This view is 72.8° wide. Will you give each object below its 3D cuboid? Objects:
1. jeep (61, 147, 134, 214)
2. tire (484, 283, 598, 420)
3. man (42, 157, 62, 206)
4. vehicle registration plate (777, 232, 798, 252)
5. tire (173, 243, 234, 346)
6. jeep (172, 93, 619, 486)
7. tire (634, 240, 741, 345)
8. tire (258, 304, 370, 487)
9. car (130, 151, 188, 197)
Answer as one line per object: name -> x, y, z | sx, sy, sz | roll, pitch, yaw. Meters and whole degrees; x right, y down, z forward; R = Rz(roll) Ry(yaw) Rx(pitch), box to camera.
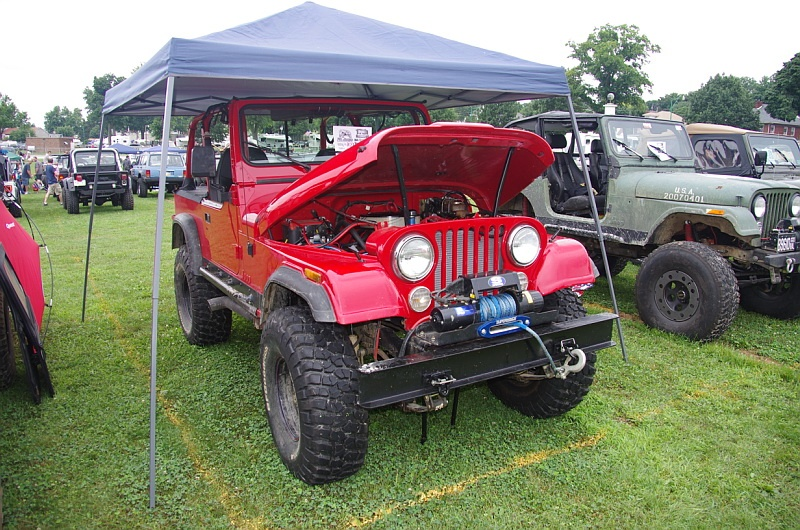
jeep -> -8.955, -2.494, 16.011 | 1.722, 1.911, 1.315 | -6, 8, -32
tire -> 1.203, 0.738, 4.700 | 0.469, 1.392, 1.261 | 0, 1, -34
man -> -11.865, -2.883, 18.445 | 0.534, 1.752, 2.092 | -6, 8, -33
vehicle registration plate -> 4.629, -0.283, 6.608 | 0.285, 0.202, 0.095 | -4, 6, -18
tire -> -2.440, 0.357, 6.634 | 0.450, 1.285, 1.291 | -8, 7, -31
jeep -> -0.617, -0.333, 5.975 | 2.668, 2.765, 5.005 | -6, 16, -32
tire -> 3.456, 0.362, 6.570 | 0.415, 1.065, 1.142 | -7, 8, -28
tire -> -0.740, 1.080, 4.446 | 1.002, 1.426, 0.429 | 3, 8, 34
car -> -9.335, -3.450, 20.901 | 1.827, 1.605, 3.129 | -7, 12, -37
